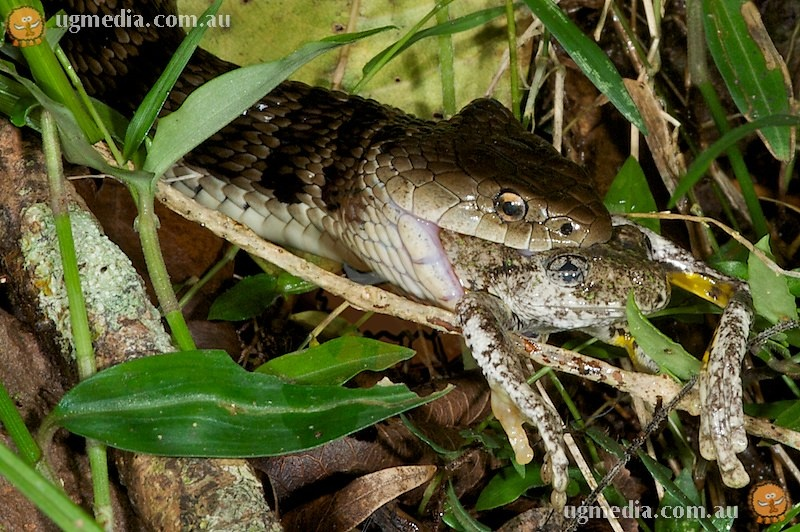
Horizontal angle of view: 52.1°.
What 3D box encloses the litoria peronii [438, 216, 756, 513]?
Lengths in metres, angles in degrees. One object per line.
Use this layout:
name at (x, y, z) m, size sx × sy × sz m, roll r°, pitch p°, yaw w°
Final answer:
litoria peronii at (0.537, 0.275, 2.487) m, size 0.689 × 0.326 × 0.979 m, roll -6°, pitch 41°, yaw -18°
